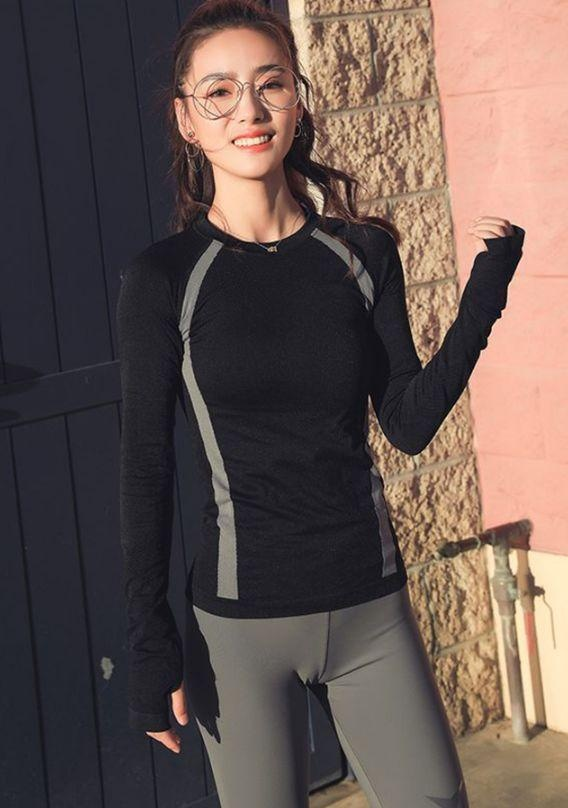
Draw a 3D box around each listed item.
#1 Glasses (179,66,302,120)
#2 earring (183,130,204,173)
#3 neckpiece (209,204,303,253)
[{"bbox_3d":[-0.070,-0.535,1.416,0.134,0.038,0.125,-3,-11,-3],"label":"Glasses"},{"bbox_3d":[-0.179,-0.505,1.655,0.040,0.062,0.014,-13,12,-17],"label":"earring"},{"bbox_3d":[-0.044,-0.333,1.456,0.110,0.122,0.049,-2,18,-5],"label":"neckpiece"}]
